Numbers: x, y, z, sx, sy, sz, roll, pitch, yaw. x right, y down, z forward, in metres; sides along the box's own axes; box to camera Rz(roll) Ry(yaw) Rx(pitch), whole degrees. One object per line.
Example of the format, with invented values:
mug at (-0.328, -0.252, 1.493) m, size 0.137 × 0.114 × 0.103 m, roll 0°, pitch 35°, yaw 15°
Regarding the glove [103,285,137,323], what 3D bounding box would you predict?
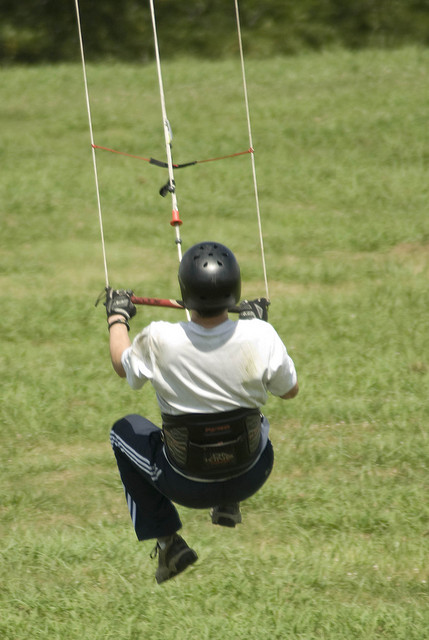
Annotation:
glove at (-0.641, -0.096, 5.686) m, size 0.221 × 0.102 × 0.206 m, roll -4°, pitch 54°, yaw -6°
